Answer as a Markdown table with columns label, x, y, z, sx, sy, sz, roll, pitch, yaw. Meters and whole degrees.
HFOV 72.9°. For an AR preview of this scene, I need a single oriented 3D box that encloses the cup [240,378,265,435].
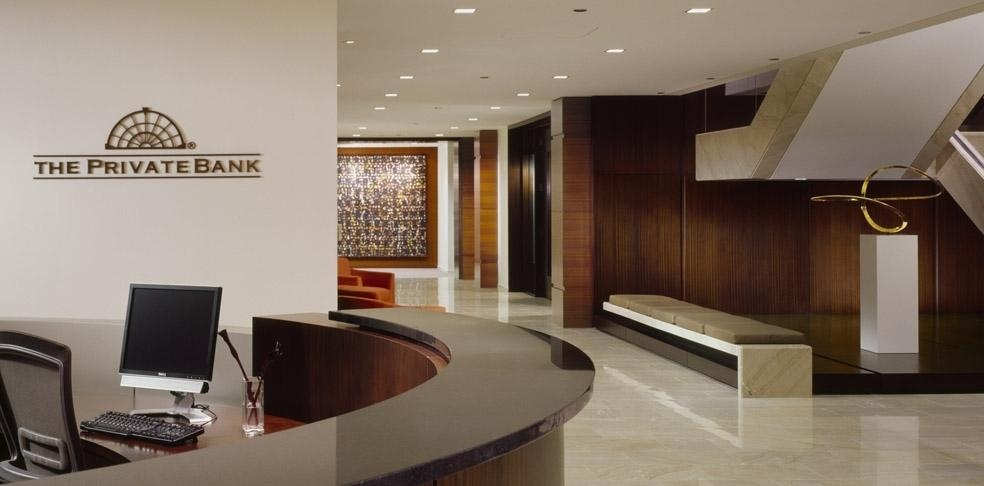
| label | x | y | z | sx | sy | sz | roll | pitch | yaw |
| --- | --- | --- | --- | --- | --- | --- | --- | --- | --- |
| cup | -2.259 | 1.530 | 6.276 | 0.182 | 0.530 | 0.206 | -2 | 2 | -25 |

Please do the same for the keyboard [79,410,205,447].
| label | x | y | z | sx | sy | sz | roll | pitch | yaw |
| --- | --- | --- | --- | --- | --- | --- | --- | --- | --- |
| keyboard | -3.269 | 1.735 | 6.246 | 1.182 | 0.231 | 0.275 | 0 | 2 | 12 |

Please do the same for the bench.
| label | x | y | z | sx | sy | sz | roll | pitch | yaw |
| --- | --- | --- | --- | --- | --- | --- | --- | --- | --- |
| bench | 3.414 | 1.597 | 10.584 | 0.917 | 1.107 | 3.020 | -2 | 2 | -27 |
